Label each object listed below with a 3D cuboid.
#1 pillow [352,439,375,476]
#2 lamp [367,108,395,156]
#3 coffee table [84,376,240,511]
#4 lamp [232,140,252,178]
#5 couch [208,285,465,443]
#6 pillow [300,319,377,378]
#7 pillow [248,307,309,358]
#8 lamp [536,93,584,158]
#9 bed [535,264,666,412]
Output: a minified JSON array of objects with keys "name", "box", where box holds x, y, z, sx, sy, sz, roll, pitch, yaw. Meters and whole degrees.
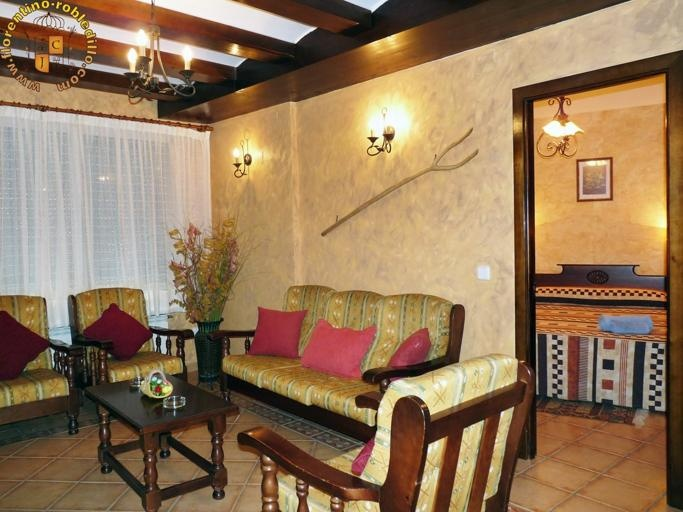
[{"name":"pillow","box":[0.123,0.998,2.664,0.061,0.219,0.163,23,-32,4]},{"name":"lamp","box":[0.359,-1.145,4.779,0.124,0.437,0.373,-1,2,-37]},{"name":"coffee table","box":[-1.302,1.286,3.840,0.701,0.611,1.047,-3,10,-39]},{"name":"lamp","box":[-1.148,-1.121,5.935,0.216,0.412,0.173,3,10,14]},{"name":"couch","box":[-0.167,0.925,4.738,1.093,1.115,2.296,-5,4,-39]},{"name":"pillow","box":[-0.157,0.809,4.658,0.591,0.231,0.753,1,18,-11]},{"name":"pillow","box":[-0.614,0.733,4.937,0.511,0.446,0.155,2,-18,29]},{"name":"lamp","box":[2.274,-1.335,5.395,0.477,0.609,0.412,3,7,14]},{"name":"bed","box":[2.846,0.811,5.486,1.622,0.989,1.611,1,4,42]}]
